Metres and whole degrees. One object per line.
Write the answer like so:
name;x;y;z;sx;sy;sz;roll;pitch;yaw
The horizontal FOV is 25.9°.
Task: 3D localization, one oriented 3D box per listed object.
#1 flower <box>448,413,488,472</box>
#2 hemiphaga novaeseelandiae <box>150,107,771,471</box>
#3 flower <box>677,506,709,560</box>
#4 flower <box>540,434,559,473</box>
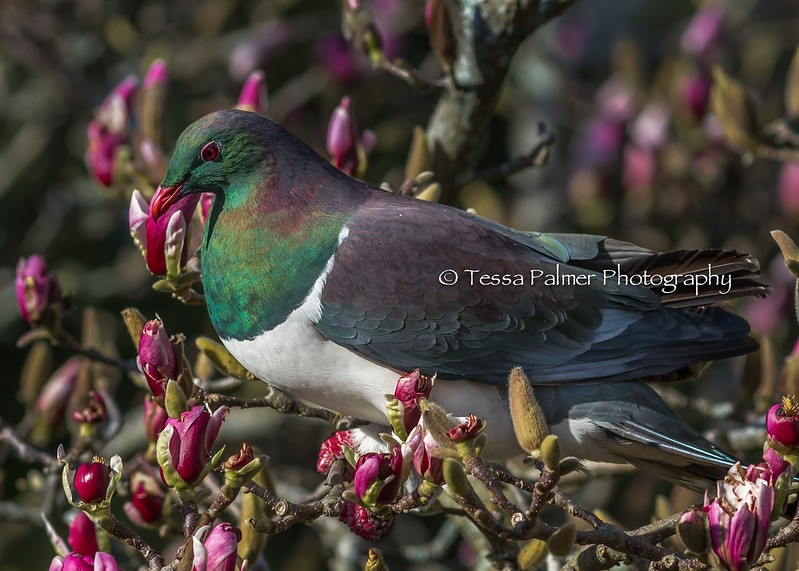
flower;0.244;0.563;6.150;0.141;0.164;0.183;-8;89;1
hemiphaga novaeseelandiae;0.132;0.100;6.773;2.292;0.480;0.961;19;85;7
flower;1.074;0.905;6.364;0.112;0.124;0.181;-4;83;5
flower;0.523;0.584;6.065;0.048;0.148;0.044;-13;42;-18
